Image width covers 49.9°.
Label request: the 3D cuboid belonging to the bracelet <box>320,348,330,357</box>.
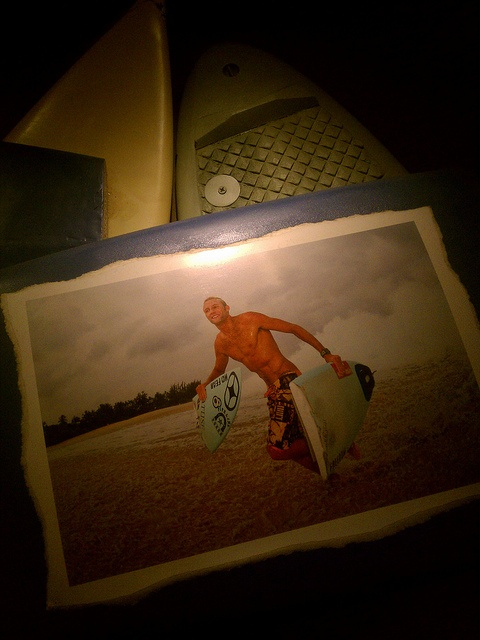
[{"bbox_3d":[0.169,0.065,1.028,0.020,0.019,0.006,-3,-3,-17],"label":"bracelet"}]
